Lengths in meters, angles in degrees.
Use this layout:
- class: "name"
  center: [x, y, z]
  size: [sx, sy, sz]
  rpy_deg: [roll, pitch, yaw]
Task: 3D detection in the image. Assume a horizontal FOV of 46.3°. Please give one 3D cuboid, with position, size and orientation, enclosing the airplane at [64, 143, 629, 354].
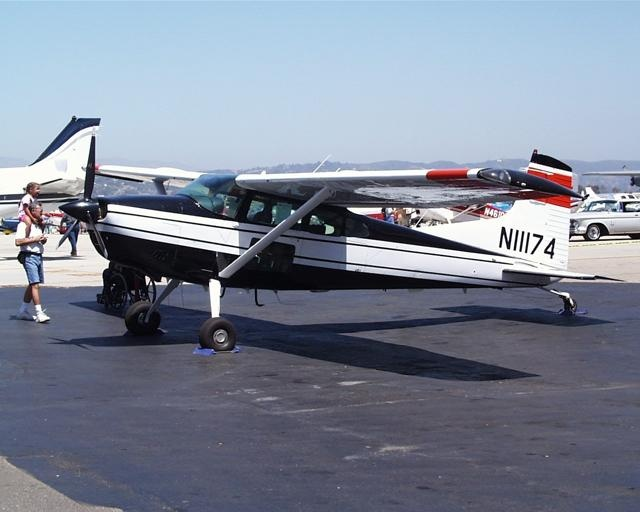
- class: "airplane"
  center: [0.653, -0.309, 10.845]
  size: [6.108, 1.207, 6.108]
  rpy_deg: [0, 0, -25]
